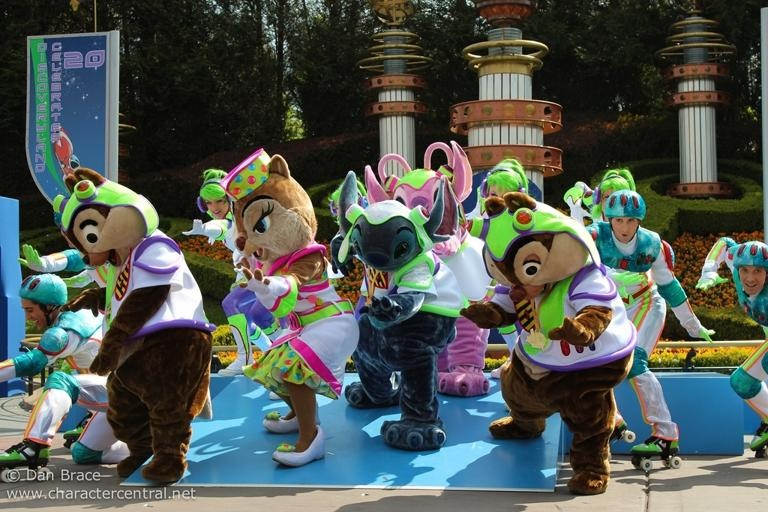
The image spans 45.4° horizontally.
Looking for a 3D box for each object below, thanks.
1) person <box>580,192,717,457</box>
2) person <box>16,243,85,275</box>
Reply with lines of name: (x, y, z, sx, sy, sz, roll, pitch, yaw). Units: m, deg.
person: (2.630, 0.642, 9.291, 1.157, 2.650, 1.206, -1, 2, 6)
person: (-3.532, 0.045, 9.860, 0.500, 0.379, 0.943, 4, 6, 15)
